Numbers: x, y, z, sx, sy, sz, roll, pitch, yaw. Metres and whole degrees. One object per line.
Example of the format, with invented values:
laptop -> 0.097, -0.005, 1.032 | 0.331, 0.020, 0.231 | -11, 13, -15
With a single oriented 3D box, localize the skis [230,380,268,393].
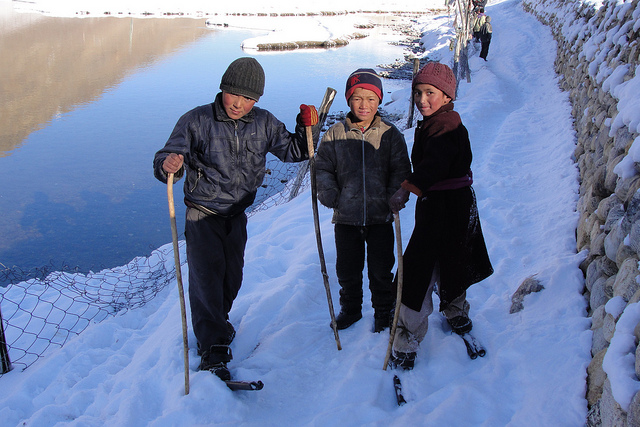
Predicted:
skis -> -0.696, 1.694, 5.191 | 0.371, 0.121, 0.071 | 0, 16, 11

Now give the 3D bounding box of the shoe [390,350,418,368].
shoe -> 0.840, 1.433, 5.283 | 0.203, 0.166, 0.155 | -8, 8, 5

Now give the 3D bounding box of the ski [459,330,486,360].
ski -> 1.532, 1.339, 5.343 | 0.141, 0.062, 0.245 | -13, 31, -7

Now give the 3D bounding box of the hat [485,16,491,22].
hat -> 5.286, -6.113, 16.550 | 0.173, 0.226, 0.178 | 1, 65, 5

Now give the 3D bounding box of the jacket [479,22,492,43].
jacket -> 5.185, -5.701, 16.581 | 0.278, 0.563, 0.381 | 9, 30, 23

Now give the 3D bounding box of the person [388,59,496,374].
person -> 0.976, 0.048, 5.120 | 1.169, 2.739, 0.909 | -19, 31, -28

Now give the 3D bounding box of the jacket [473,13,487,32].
jacket -> 5.255, -6.337, 17.478 | 0.205, 0.677, 0.526 | 23, 14, 13

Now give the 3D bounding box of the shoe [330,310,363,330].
shoe -> 0.283, 1.152, 5.795 | 0.350, 0.158, 0.139 | -29, 26, -3

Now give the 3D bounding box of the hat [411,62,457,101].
hat -> 1.113, -1.291, 5.055 | 0.358, 0.358, 0.299 | -3, 1, -29

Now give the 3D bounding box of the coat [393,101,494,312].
coat -> 1.110, 0.010, 5.072 | 0.971, 1.940, 0.704 | -16, 30, -24

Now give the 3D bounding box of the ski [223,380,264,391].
ski -> -0.723, 1.680, 5.185 | 0.448, 0.121, 0.077 | 0, 18, 8

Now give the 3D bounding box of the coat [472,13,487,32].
coat -> 5.216, -6.331, 17.472 | 0.190, 0.624, 0.486 | -4, 22, -37

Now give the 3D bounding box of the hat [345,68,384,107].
hat -> 0.439, -1.286, 5.330 | 0.358, 0.344, 0.328 | -1, 27, 3

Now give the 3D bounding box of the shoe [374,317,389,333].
shoe -> 0.646, 1.180, 5.538 | 0.143, 0.103, 0.123 | 1, 27, 7

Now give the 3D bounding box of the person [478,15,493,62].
person -> 5.197, -5.556, 16.690 | 0.363, 1.255, 1.325 | 5, 28, 15

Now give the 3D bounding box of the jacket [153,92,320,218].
jacket -> -0.914, -0.586, 5.355 | 1.506, 1.119, 0.491 | -11, 28, -16
